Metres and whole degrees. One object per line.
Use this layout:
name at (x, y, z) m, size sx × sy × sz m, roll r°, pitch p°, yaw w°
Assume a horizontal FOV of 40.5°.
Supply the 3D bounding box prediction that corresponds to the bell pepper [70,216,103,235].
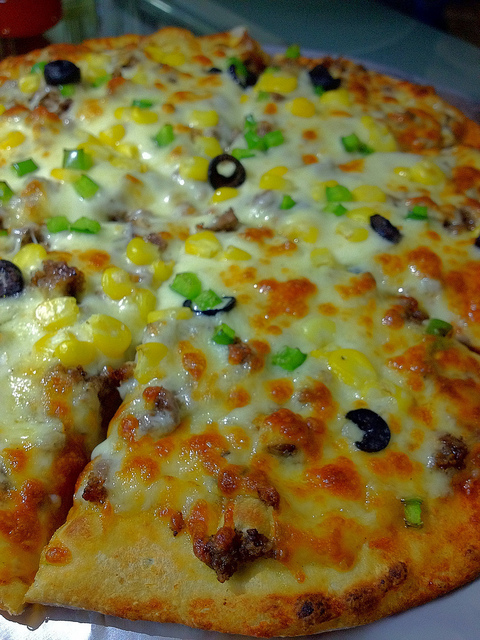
bell pepper at (-0.547, -0.336, 2.366) m, size 0.083 × 0.022 × 0.067 m, roll 27°, pitch 60°, yaw 1°

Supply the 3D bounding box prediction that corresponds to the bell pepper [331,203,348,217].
bell pepper at (0.368, -0.406, 2.422) m, size 0.051 × 0.013 × 0.044 m, roll -2°, pitch 49°, yaw 3°

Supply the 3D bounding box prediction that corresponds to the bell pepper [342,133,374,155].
bell pepper at (0.496, -0.746, 2.816) m, size 0.130 × 0.031 × 0.075 m, roll 24°, pitch 46°, yaw -8°

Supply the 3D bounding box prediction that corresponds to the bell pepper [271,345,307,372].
bell pepper at (0.143, 0.112, 1.970) m, size 0.092 × 0.052 × 0.061 m, roll 25°, pitch 46°, yaw 17°

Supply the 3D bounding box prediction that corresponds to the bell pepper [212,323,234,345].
bell pepper at (-0.048, 0.038, 2.010) m, size 0.064 × 0.038 × 0.088 m, roll 7°, pitch 42°, yaw -1°

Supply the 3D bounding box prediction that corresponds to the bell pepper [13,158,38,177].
bell pepper at (-0.833, -0.597, 2.537) m, size 0.081 × 0.021 × 0.056 m, roll -29°, pitch 88°, yaw -20°

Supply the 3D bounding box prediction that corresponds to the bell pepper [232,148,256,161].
bell pepper at (0.013, -0.704, 2.757) m, size 0.088 × 0.017 × 0.046 m, roll -1°, pitch 54°, yaw -2°

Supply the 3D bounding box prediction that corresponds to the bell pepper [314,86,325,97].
bell pepper at (0.370, -1.088, 3.114) m, size 0.064 × 0.018 × 0.050 m, roll -8°, pitch 68°, yaw 6°

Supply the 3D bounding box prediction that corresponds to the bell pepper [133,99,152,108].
bell pepper at (-0.422, -0.941, 2.840) m, size 0.055 × 0.014 × 0.049 m, roll 10°, pitch 42°, yaw 13°

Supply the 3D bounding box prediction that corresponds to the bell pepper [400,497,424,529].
bell pepper at (0.455, 0.503, 1.714) m, size 0.059 × 0.044 × 0.071 m, roll 1°, pitch 43°, yaw -8°

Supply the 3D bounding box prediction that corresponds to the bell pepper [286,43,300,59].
bell pepper at (0.293, -1.474, 3.560) m, size 0.085 × 0.051 × 0.087 m, roll -2°, pitch 46°, yaw -1°
